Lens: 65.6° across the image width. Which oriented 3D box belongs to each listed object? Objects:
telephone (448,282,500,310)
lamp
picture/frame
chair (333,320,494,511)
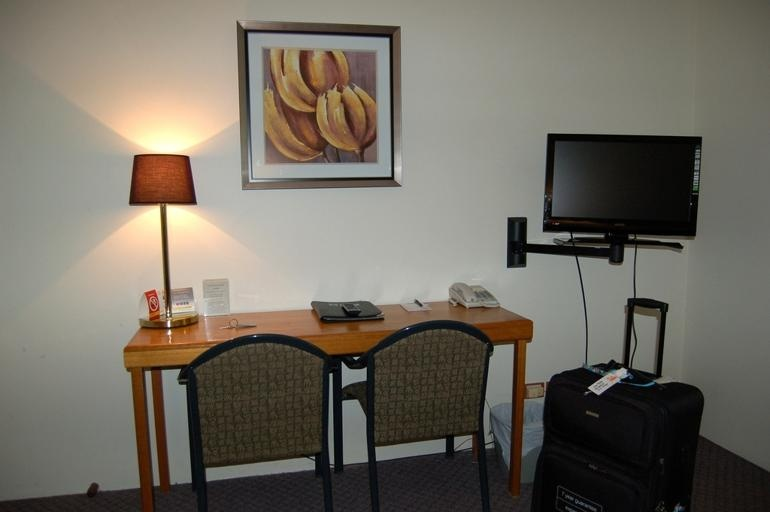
[{"bbox_3d":[0.541,0.227,3.819,0.203,0.084,0.201,-1,6,-18],"label":"telephone"},{"bbox_3d":[-1.317,-0.095,3.559,0.363,1.009,0.312,-5,8,-20],"label":"lamp"},{"bbox_3d":[-0.464,-0.979,3.722,1.080,1.044,0.050,0,0,-11],"label":"picture/frame"},{"bbox_3d":[0.160,0.759,3.750,1.037,1.502,0.979,-2,11,-11],"label":"chair"}]
